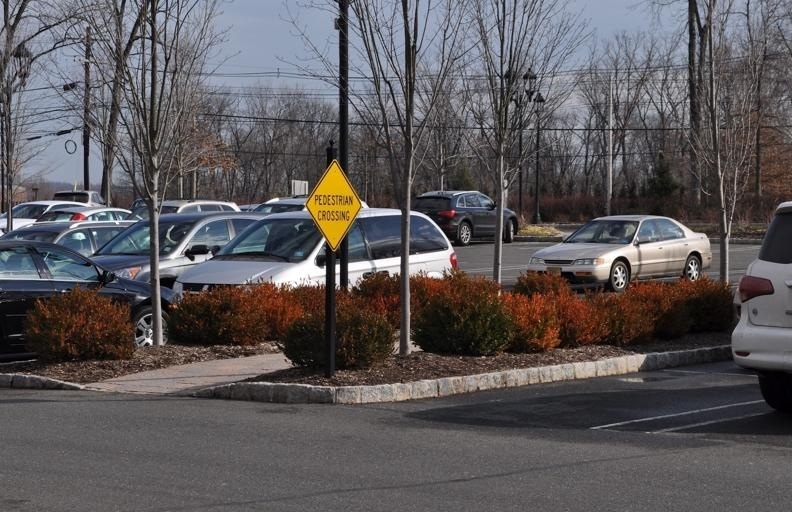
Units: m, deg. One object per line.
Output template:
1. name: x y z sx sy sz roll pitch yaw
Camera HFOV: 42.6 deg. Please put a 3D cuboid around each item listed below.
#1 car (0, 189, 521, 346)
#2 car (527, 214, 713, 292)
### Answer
1. car: -2.088 -0.120 20.523 6.154 1.655 3.834 4 11 21
2. car: 5.799 -0.158 26.270 4.927 1.628 1.736 -7 12 -34
